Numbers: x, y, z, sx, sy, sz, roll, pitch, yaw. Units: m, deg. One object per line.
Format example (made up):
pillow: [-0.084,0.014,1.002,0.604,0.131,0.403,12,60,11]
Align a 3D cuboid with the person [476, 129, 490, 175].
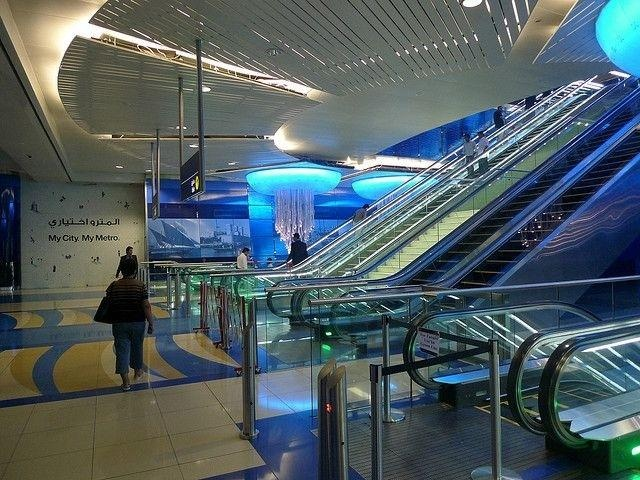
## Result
person: [4.536,-2.417,12.718,0.375,1.226,1.399,-1,5,20]

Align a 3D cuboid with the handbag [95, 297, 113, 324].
handbag: [-2.887,0.945,6.040,0.195,0.375,0.380,-5,6,-26]

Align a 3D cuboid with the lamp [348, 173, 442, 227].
lamp: [2.430,-1.340,14.487,2.570,0.805,1.810,-27,15,-8]

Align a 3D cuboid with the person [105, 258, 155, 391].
person: [-2.561,1.100,6.150,0.528,1.664,0.633,-5,6,-24]
